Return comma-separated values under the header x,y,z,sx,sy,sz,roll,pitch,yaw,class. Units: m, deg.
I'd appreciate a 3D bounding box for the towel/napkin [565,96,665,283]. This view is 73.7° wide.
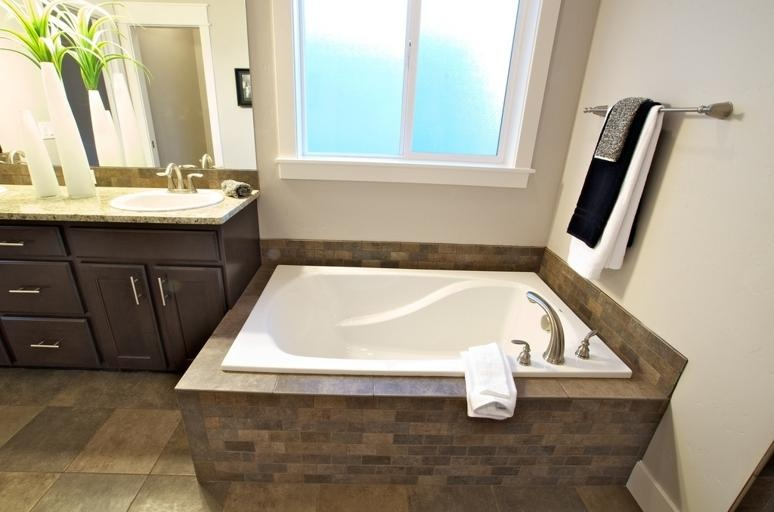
x,y,z,sx,sy,sz,roll,pitch,yaw,class
1.219,-0.367,2.826,0.364,0.941,0.349,-20,31,-36,towel/napkin

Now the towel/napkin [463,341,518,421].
x,y,z,sx,sy,sz,roll,pitch,yaw,class
0.519,0.622,2.610,0.261,0.115,0.332,-2,38,2,towel/napkin

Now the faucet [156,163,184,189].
x,y,z,sx,sy,sz,roll,pitch,yaw,class
-1.376,-0.504,3.300,0.120,0.189,0.234,8,16,10,faucet

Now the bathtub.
x,y,z,sx,sy,sz,roll,pitch,yaw,class
0.131,0.474,3.148,1.978,0.505,0.998,-1,23,0,bathtub

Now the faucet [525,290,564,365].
x,y,z,sx,sy,sz,roll,pitch,yaw,class
0.887,0.377,2.781,0.179,0.330,0.266,-10,25,-18,faucet
